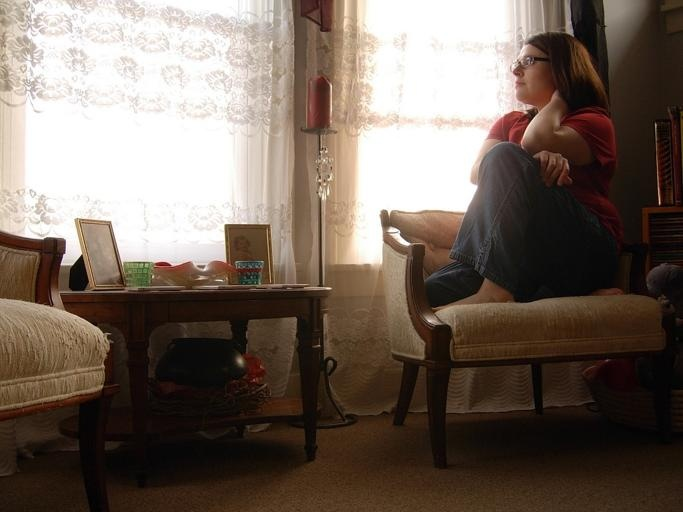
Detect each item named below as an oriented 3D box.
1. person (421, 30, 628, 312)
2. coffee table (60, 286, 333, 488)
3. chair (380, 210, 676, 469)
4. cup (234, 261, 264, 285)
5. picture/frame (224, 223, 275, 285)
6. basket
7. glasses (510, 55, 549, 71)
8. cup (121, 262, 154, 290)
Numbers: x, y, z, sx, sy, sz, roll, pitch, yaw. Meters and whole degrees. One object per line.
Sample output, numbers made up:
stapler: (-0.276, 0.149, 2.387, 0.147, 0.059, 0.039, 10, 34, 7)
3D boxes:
person: (0.745, -0.349, 2.468, 0.768, 1.273, 0.595, 6, -11, 7)
coffee table: (-0.450, 0.434, 2.195, 0.891, 0.645, 0.504, -1, 1, -22)
chair: (0.682, 0.255, 2.364, 0.989, 0.914, 0.665, -1, 2, -12)
cup: (-0.354, 0.063, 2.219, 0.087, 0.075, 0.088, -1, -3, 0)
picture/frame: (-0.374, -0.007, 2.331, 0.192, 0.280, 0.016, 0, -28, -14)
basket: (1.172, 0.586, 2.398, 0.212, 0.150, 0.292, -1, 2, 1)
glasses: (0.839, -0.869, 2.596, 0.080, 0.027, 0.082, 9, -7, -8)
cup: (-0.729, 0.063, 2.078, 0.088, 0.100, 0.098, 0, -2, 22)
